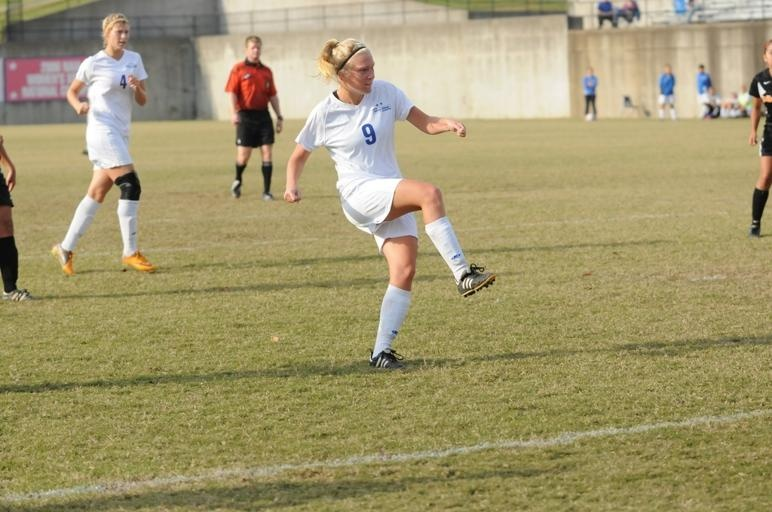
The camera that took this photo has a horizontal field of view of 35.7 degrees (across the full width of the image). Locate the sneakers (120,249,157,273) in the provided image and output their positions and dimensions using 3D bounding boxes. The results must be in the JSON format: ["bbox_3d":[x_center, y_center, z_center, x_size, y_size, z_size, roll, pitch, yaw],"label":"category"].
[{"bbox_3d":[-2.767,0.050,13.524,0.465,0.188,0.178,10,21,36],"label":"sneakers"}]

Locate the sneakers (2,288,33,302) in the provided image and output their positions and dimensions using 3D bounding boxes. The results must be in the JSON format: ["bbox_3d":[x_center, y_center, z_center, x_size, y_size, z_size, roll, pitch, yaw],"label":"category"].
[{"bbox_3d":[-3.840,0.400,12.520,0.317,0.131,0.119,-1,6,8],"label":"sneakers"}]

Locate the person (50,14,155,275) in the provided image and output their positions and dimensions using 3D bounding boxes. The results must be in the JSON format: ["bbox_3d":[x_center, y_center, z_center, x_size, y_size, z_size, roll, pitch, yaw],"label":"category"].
[{"bbox_3d":[-3.155,-1.255,13.384,1.040,2.832,0.945,-4,12,-11],"label":"person"}]

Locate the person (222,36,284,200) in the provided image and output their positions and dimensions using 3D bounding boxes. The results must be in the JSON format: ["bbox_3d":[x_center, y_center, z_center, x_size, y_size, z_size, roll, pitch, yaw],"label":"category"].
[{"bbox_3d":[-1.983,-2.067,17.968,0.811,2.464,1.545,-3,12,-7],"label":"person"}]

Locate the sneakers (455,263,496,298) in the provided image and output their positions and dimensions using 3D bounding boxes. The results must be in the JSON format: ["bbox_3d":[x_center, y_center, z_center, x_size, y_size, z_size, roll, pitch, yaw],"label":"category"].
[{"bbox_3d":[0.779,0.182,10.653,0.193,0.264,0.489,-12,-12,-40],"label":"sneakers"}]

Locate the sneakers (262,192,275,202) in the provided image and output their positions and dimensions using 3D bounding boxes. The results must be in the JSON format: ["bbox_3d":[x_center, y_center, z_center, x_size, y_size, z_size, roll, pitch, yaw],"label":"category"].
[{"bbox_3d":[-1.786,-0.899,18.001,0.156,0.111,0.265,-3,4,-8],"label":"sneakers"}]

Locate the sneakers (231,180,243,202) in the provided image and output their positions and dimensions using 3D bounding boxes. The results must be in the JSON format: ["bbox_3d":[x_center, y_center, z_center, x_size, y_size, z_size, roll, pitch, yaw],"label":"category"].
[{"bbox_3d":[-2.277,-0.997,18.195,0.180,0.285,0.121,-5,-18,29],"label":"sneakers"}]

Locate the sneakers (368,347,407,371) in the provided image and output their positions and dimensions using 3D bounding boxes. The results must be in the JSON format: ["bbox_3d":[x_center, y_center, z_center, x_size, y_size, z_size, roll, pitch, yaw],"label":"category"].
[{"bbox_3d":[0.006,0.918,10.807,0.327,0.167,0.131,-2,12,-2],"label":"sneakers"}]
